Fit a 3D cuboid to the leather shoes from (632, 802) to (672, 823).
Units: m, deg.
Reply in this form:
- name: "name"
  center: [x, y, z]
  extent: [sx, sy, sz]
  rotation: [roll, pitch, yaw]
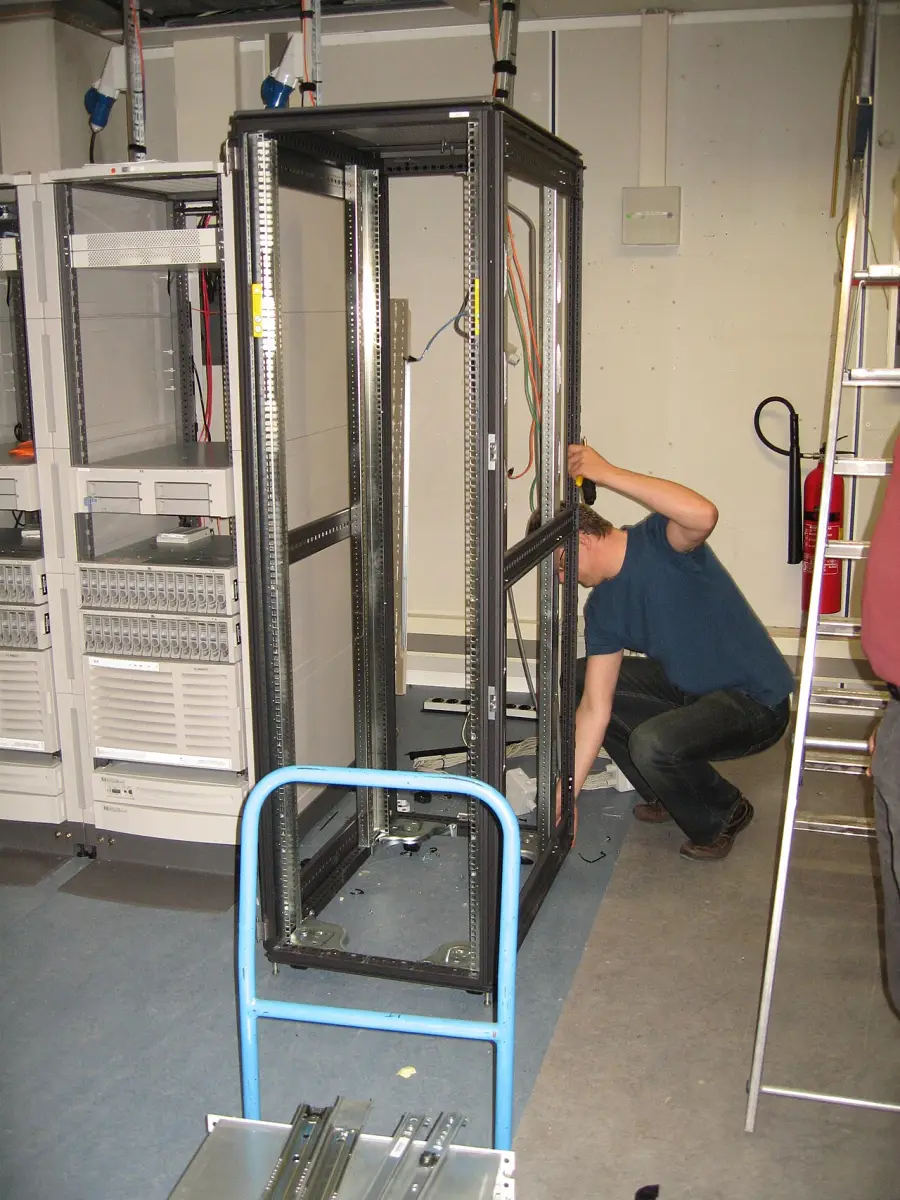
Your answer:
- name: "leather shoes"
  center: [0.665, 0.682, 3.665]
  extent: [0.114, 0.079, 0.046]
  rotation: [14, 12, 22]

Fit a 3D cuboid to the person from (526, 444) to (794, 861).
- name: "person"
  center: [0.598, 0.159, 3.334]
  extent: [0.654, 1.180, 0.611]
  rotation: [-4, 6, 30]

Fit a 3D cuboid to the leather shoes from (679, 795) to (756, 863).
- name: "leather shoes"
  center: [0.836, 0.717, 3.456]
  extent: [0.108, 0.128, 0.301]
  rotation: [23, 32, 29]
